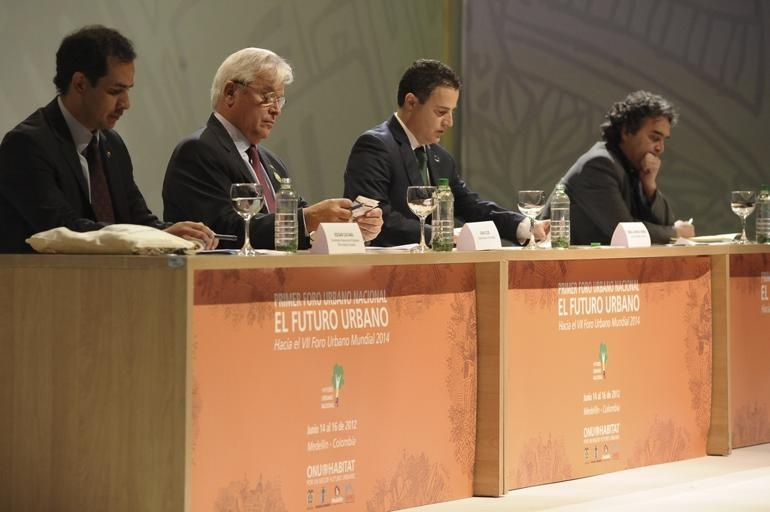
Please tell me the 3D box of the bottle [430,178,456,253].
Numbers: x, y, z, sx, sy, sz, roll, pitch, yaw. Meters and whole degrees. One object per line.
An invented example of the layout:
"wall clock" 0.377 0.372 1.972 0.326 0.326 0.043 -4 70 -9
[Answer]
"bottle" 0.231 -0.172 3.251 0.099 0.328 0.327 -5 -3 4

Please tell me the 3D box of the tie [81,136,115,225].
"tie" -1.257 -0.360 3.549 0.128 0.551 0.060 6 42 -5

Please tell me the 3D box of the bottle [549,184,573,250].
"bottle" 0.761 -0.175 3.486 0.089 0.204 0.349 -5 -4 12

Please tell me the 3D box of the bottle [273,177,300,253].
"bottle" -0.368 -0.157 2.991 0.077 0.306 0.289 -4 -4 -5

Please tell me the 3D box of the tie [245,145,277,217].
"tie" -0.593 -0.379 3.880 0.103 0.082 0.563 -2 36 -10

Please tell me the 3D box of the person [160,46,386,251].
"person" -0.538 -0.377 3.837 0.849 1.239 0.962 4 -7 -44

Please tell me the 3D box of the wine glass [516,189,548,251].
"wine glass" 0.656 -0.183 3.552 0.129 0.279 0.131 -8 18 -17
